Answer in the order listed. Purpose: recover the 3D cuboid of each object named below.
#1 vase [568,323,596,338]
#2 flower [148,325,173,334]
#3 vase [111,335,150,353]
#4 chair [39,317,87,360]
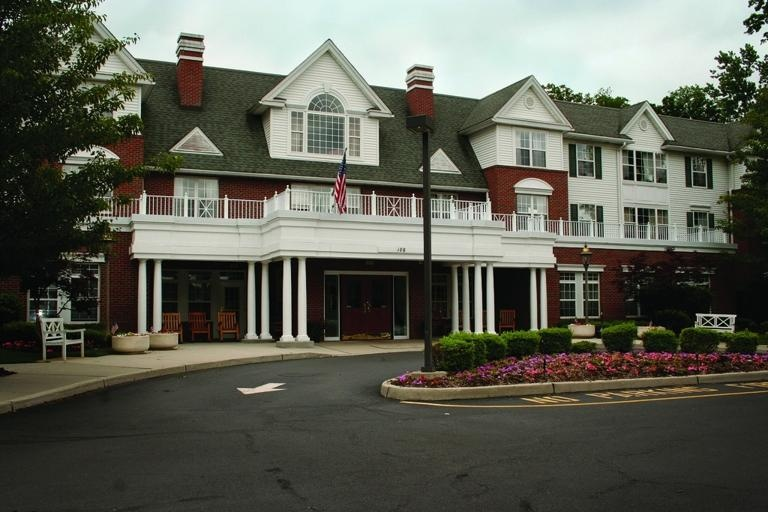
[{"bbox_3d":[8.732,3.329,37.289,1.044,0.686,1.394,-2,-7,9],"label":"vase"},{"bbox_3d":[-8.543,2.832,31.736,0.671,0.193,0.654,-3,-7,28],"label":"flower"},{"bbox_3d":[-8.736,2.993,28.722,1.189,0.677,0.587,2,-7,-20],"label":"vase"},{"bbox_3d":[-10.742,2.737,28.006,1.032,1.221,1.048,-1,1,20],"label":"chair"}]
